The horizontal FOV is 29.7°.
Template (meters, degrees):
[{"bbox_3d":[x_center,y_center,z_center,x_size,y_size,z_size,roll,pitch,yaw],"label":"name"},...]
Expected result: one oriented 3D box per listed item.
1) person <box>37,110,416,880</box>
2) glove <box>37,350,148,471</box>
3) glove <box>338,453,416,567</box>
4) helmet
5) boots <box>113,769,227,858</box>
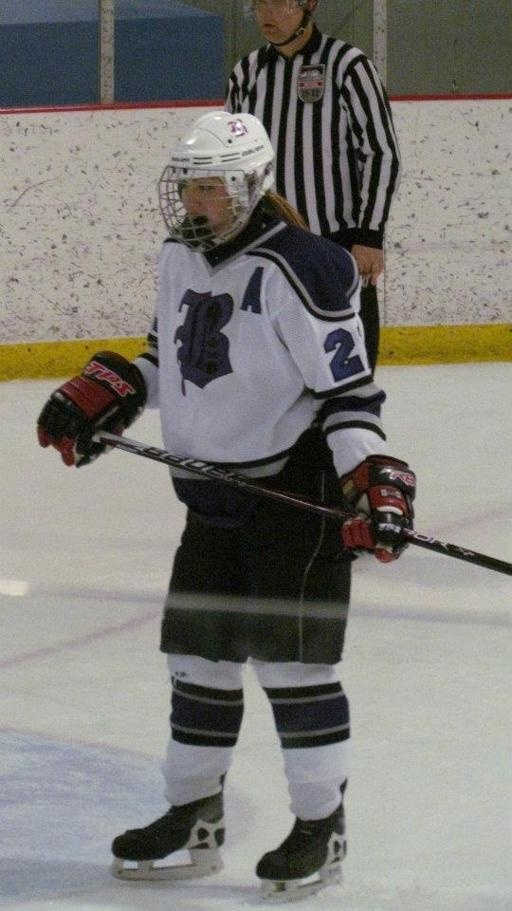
[{"bbox_3d":[-0.058,0.024,1.298,0.441,0.943,0.537,-5,14,-13],"label":"person"},{"bbox_3d":[-0.221,-0.110,1.464,0.130,0.074,0.173,15,23,15],"label":"glove"},{"bbox_3d":[0.147,0.065,1.156,0.088,0.118,0.114,0,14,5],"label":"glove"},{"bbox_3d":[-0.047,-0.368,1.296,0.174,0.172,0.128,-24,31,-35],"label":"helmet"},{"bbox_3d":[-0.102,0.468,1.267,0.176,0.105,0.057,-5,0,-7],"label":"boots"}]
